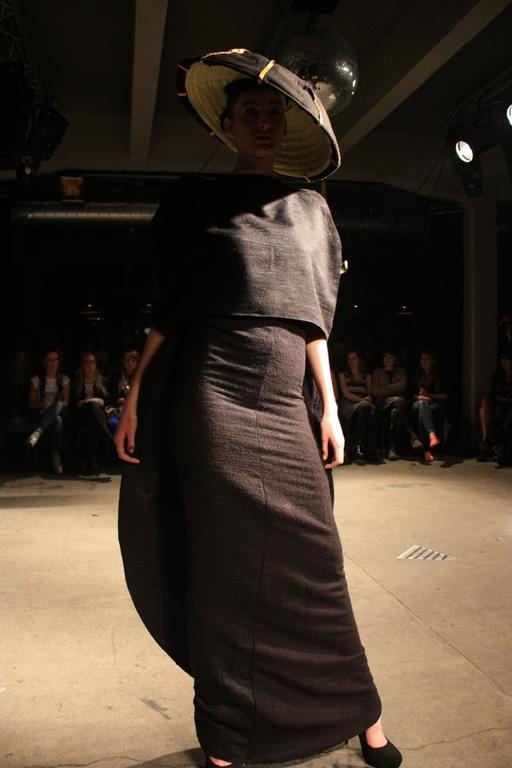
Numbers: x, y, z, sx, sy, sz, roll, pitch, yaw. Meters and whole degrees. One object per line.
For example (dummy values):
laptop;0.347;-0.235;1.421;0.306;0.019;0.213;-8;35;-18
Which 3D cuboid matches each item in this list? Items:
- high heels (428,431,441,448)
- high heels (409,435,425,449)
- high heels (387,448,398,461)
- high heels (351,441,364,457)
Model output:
high heels;1.727;0.552;6.404;0.079;0.146;0.215;-8;-19;8
high heels;1.536;0.551;6.298;0.059;0.076;0.181;-18;20;12
high heels;1.339;0.692;6.436;0.080;0.122;0.123;0;-45;4
high heels;0.966;0.627;6.246;0.085;0.113;0.105;-1;41;9
